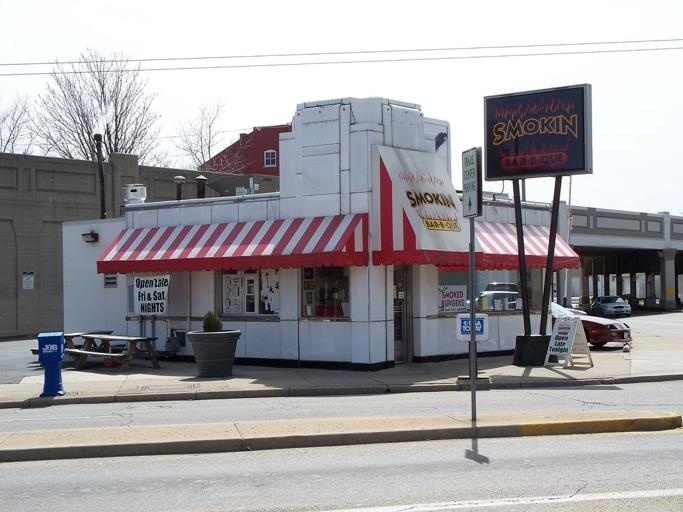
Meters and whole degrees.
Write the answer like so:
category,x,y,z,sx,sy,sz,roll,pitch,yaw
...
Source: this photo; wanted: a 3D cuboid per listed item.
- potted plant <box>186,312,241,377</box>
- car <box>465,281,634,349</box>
category,x,y,z,sx,sy,sz,roll,pitch,yaw
potted plant,-3.325,2.251,22.073,1.362,1.671,1.452,-6,-7,22
car,7.271,1.956,27.836,6.660,2.252,1.870,2,-5,-44
